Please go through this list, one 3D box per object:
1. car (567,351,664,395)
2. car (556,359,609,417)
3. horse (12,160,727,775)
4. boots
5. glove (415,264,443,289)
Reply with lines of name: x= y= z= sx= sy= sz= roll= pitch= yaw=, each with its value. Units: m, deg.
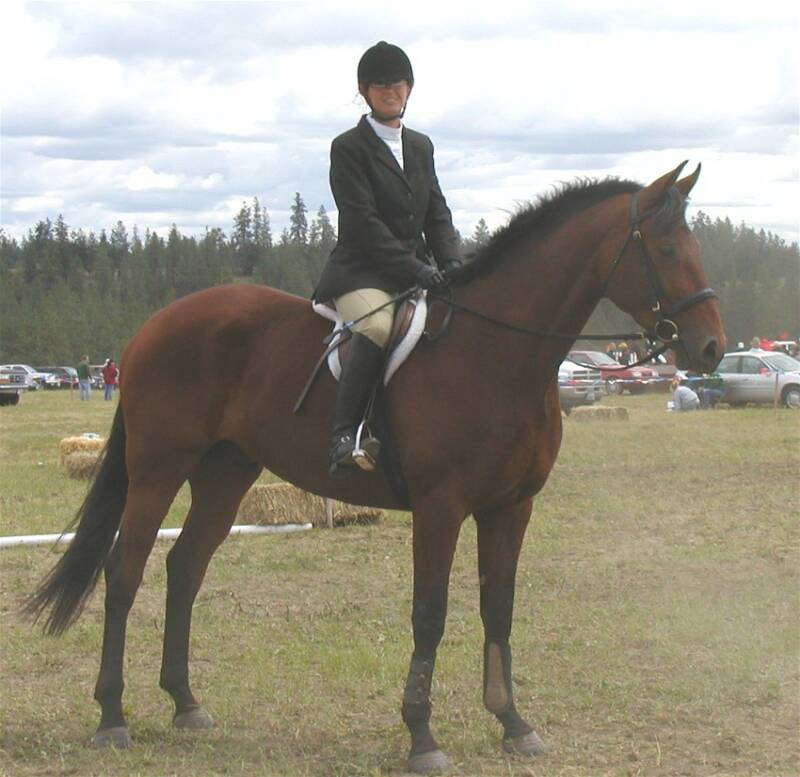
car: x=5.060 y=-0.309 z=26.562 sx=2.162 sy=0.835 sz=1.044 roll=-5 pitch=11 yaw=-29
car: x=3.817 y=0.047 z=23.146 sx=0.915 sy=0.894 sz=1.633 roll=-4 pitch=10 yaw=-31
horse: x=-0.153 y=0.376 z=5.859 sx=3.574 sy=3.020 sz=0.797 roll=2 pitch=5 yaw=17
boots: x=-0.211 y=0.076 z=5.583 sx=0.265 sy=0.672 sz=0.321 roll=0 pitch=5 yaw=-2
glove: x=0.159 y=-0.575 z=5.776 sx=0.086 sy=0.128 sz=0.072 roll=0 pitch=-36 yaw=-14
